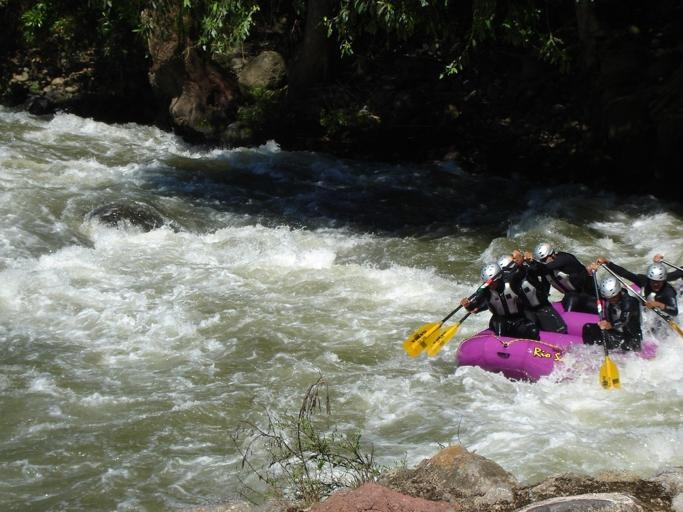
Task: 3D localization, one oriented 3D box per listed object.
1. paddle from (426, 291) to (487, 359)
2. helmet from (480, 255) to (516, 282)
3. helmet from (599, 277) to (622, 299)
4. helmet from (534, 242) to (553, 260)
[{"bbox_3d":[1.948,1.195,12.490,0.194,0.856,0.850,50,-12,5],"label":"paddle"},{"bbox_3d":[2.620,0.232,12.336,0.627,0.208,0.393,-31,24,-20],"label":"helmet"},{"bbox_3d":[4.193,0.493,11.625,0.302,0.281,0.354,-16,27,31],"label":"helmet"},{"bbox_3d":[3.555,-0.077,13.037,0.221,0.264,0.186,31,21,-25],"label":"helmet"}]
